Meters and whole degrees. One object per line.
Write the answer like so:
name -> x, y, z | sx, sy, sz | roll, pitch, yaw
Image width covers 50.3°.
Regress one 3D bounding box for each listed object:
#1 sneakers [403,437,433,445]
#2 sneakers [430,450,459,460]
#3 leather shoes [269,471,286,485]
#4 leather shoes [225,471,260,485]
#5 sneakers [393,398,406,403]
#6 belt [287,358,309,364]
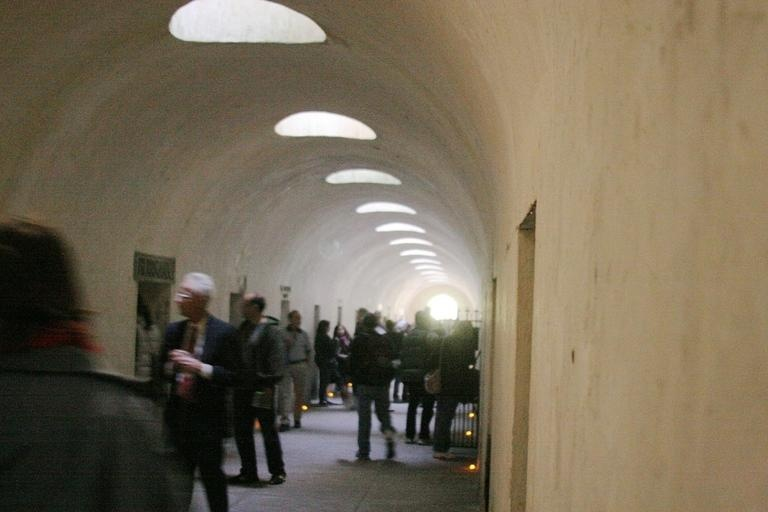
sneakers -> 0.546, 2.839, 12.625 | 0.423, 0.175, 0.141 | -1, -3, 0
sneakers -> 0.803, 2.691, 11.164 | 0.325, 0.143, 0.120 | 0, 2, -2
leather shoes -> -1.187, 2.470, 9.148 | 0.108, 0.122, 0.294 | 0, -15, 4
leather shoes -> -1.572, 2.493, 9.135 | 0.407, 0.159, 0.135 | 9, -1, -6
sneakers -> 0.384, 3.525, 20.112 | 0.191, 0.095, 0.262 | -1, -11, 8
belt -> -1.469, 1.750, 13.613 | 0.220, 0.051, 0.204 | 1, -4, -23
